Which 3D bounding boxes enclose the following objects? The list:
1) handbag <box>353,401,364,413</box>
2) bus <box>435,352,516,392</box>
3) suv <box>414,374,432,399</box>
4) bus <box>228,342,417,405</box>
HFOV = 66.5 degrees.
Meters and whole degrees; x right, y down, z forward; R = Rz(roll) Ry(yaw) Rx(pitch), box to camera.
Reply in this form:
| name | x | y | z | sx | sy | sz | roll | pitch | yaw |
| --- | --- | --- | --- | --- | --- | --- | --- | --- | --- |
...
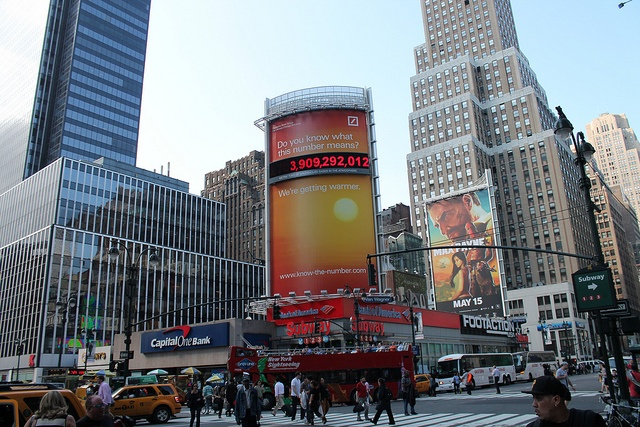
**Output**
| name | x | y | z | sx | sy | sz | roll | pitch | yaw |
| --- | --- | --- | --- | --- | --- | --- | --- | --- | --- |
| handbag | 2.354 | 11.770 | 29.662 | 0.587 | 0.562 | 0.842 | -7 | -19 | 7 |
| bus | 17.514 | 17.120 | 53.962 | 11.326 | 3.458 | 3.164 | 11 | -21 | -38 |
| suv | 10.112 | 17.092 | 48.993 | 2.416 | 1.167 | 1.407 | 21 | -34 | -30 |
| bus | 0.300 | 13.512 | 41.416 | 16.855 | 4.794 | 3.412 | -6 | -15 | 11 |
